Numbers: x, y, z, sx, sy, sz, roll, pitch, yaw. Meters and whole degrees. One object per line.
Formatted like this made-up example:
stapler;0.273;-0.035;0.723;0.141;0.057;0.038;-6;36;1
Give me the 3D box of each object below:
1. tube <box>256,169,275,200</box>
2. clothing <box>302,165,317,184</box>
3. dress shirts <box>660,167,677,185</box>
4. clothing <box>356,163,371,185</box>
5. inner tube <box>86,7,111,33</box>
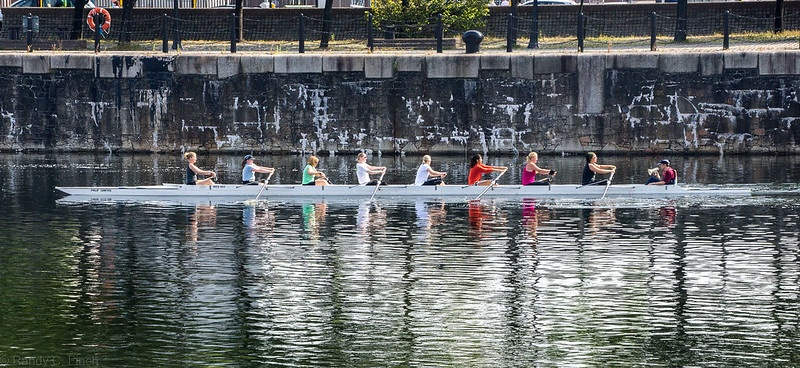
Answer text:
tube;-7.130;0.059;74.790;0.368;2.120;0.195;26;24;-47
clothing;-4.812;-0.475;74.526;0.675;0.805;1.025;-5;14;-16
dress shirts;13.747;-0.400;74.078;0.775;0.802;0.566;-2;6;-6
clothing;-2.042;-0.523;74.579;0.815;0.963;1.222;-7;11;-12
inner tube;-19.148;-10.594;91.065;2.440;1.722;0.549;4;1;32
